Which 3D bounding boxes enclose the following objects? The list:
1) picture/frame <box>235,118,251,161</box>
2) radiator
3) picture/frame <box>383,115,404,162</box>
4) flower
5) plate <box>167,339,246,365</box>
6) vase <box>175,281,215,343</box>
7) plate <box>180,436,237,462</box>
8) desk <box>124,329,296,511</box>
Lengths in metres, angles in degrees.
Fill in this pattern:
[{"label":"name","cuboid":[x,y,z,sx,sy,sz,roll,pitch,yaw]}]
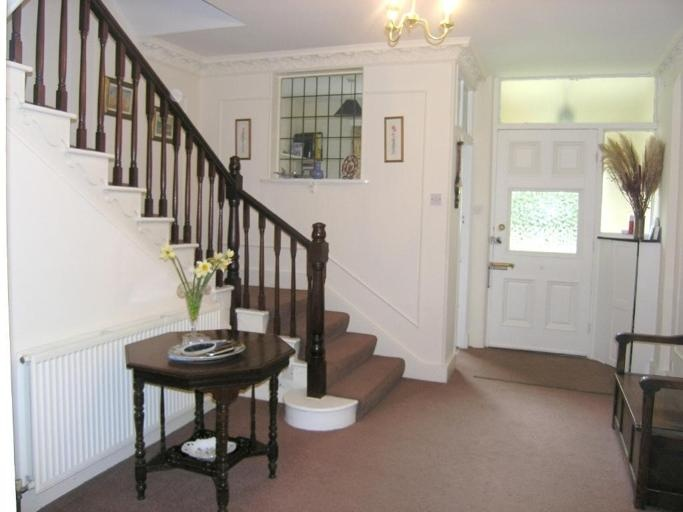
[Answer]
[{"label":"picture/frame","cuboid":[-1.050,-1.227,5.603,0.192,0.428,0.020,3,5,15]},{"label":"radiator","cuboid":[-1.373,0.916,3.166,0.069,0.660,1.104,4,8,27]},{"label":"picture/frame","cuboid":[0.489,-1.114,5.070,0.205,0.430,0.019,-6,15,-17]},{"label":"flower","cuboid":[-0.936,0.237,3.432,0.445,0.573,0.506,5,5,1]},{"label":"plate","cuboid":[-0.794,0.547,3.110,0.424,0.063,0.286,1,10,-6]},{"label":"vase","cuboid":[-0.934,0.365,3.355,0.228,0.414,0.217,-7,10,-41]},{"label":"plate","cuboid":[-0.862,1.224,3.372,0.260,0.066,0.244,4,5,-8]},{"label":"desk","cuboid":[-0.772,0.776,3.343,0.933,0.878,0.968,10,19,29]}]
